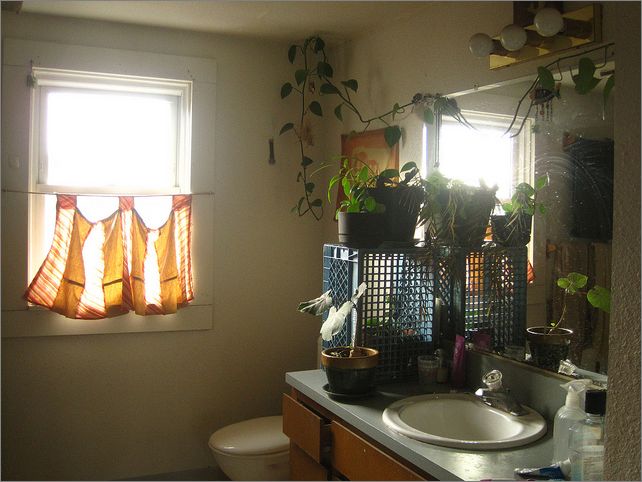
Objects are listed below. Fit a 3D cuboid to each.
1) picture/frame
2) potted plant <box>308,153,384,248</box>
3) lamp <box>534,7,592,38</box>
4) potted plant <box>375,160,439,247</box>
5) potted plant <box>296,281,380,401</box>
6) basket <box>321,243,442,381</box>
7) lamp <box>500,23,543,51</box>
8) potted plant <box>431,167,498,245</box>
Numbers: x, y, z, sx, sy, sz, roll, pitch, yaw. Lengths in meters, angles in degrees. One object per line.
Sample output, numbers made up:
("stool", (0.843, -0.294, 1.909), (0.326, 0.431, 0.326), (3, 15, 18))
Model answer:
("picture/frame", (0.239, -0.331, 2.708), (0.038, 0.591, 0.549), (0, 1, -28))
("potted plant", (0.184, -0.142, 2.627), (0.288, 0.466, 0.438), (-9, -14, 43))
("lamp", (0.831, -0.764, 1.974), (0.195, 0.106, 0.125), (-6, 10, -20))
("potted plant", (0.356, -0.122, 2.467), (0.311, 0.407, 0.293), (-2, -15, 23))
("potted plant", (0.101, 0.402, 2.303), (0.280, 0.437, 0.313), (-6, 9, -19))
("basket", (0.276, 0.280, 2.635), (0.487, 0.663, 0.658), (0, -1, -23))
("lamp", (0.700, -0.725, 1.998), (0.075, 0.081, 0.099), (11, 15, 38))
("potted plant", (0.587, -0.122, 2.348), (0.277, 0.252, 0.244), (3, -6, -4))
